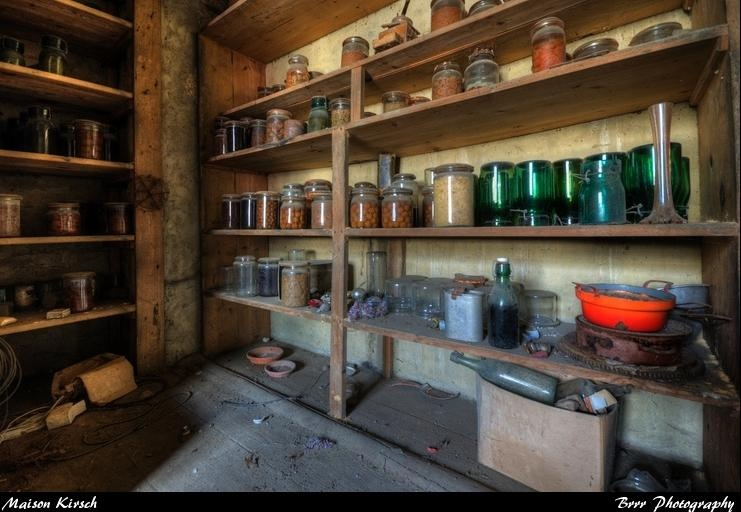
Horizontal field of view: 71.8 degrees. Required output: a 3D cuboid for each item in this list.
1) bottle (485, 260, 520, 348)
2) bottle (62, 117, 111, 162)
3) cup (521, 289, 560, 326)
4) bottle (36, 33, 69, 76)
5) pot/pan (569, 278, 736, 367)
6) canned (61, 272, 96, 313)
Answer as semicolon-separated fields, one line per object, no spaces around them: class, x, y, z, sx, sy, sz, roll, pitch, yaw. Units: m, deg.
bottle;0.688;0.235;2.676;0.167;0.455;0.170;-1;5;0
bottle;-1.767;-0.734;3.297;0.339;0.255;0.305;1;2;4
cup;0.938;0.285;2.882;0.227;0.160;0.197;-1;2;-4
bottle;-1.949;-1.231;3.139;0.164;0.246;0.119;-4;6;-28
pot/pan;1.288;0.303;2.435;0.550;0.173;0.441;2;-2;39
canned;-1.828;0.226;3.245;0.157;0.247;0.094;-4;6;-31
